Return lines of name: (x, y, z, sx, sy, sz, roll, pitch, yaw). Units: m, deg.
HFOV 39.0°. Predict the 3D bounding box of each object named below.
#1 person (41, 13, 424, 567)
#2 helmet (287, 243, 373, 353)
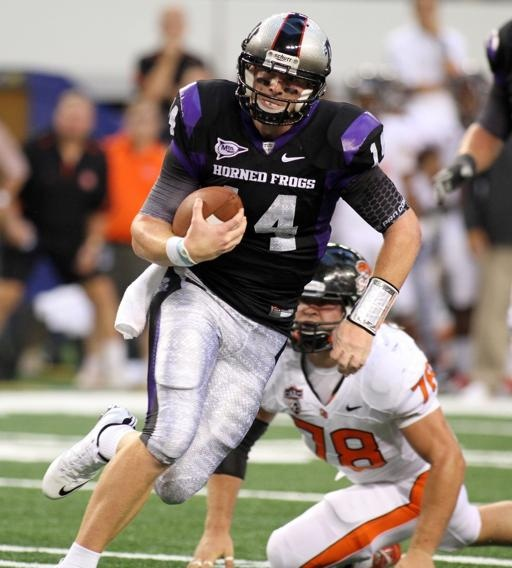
person: (0.025, -0.031, 1.705, 0.765, 1.141, 0.693, 3, 26, -11)
helmet: (0.209, 0.040, 1.962, 0.315, 0.250, 0.254, -2, 4, -43)
